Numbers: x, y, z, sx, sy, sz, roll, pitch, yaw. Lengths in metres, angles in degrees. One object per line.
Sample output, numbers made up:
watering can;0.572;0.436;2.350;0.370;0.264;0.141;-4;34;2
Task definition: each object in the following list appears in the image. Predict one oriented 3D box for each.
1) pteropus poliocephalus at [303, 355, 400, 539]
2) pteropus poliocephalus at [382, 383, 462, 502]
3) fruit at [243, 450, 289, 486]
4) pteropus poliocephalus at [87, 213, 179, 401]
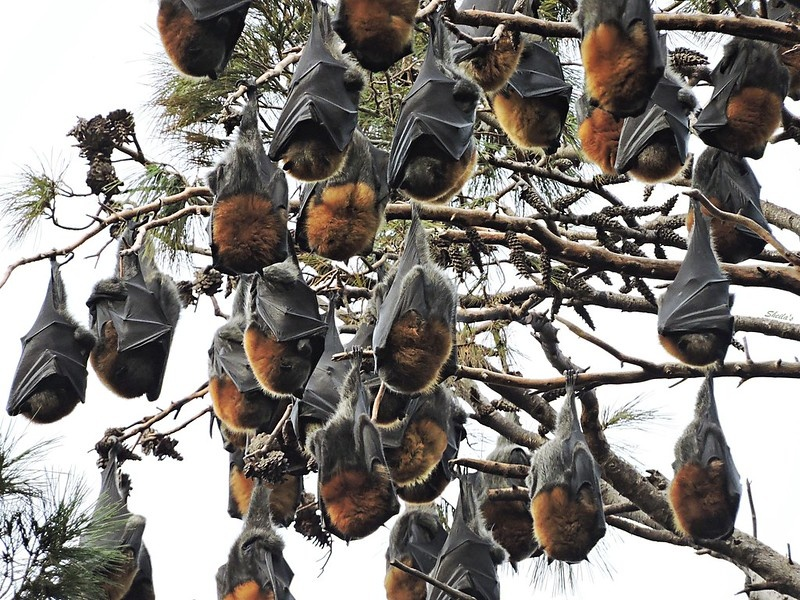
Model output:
pteropus poliocephalus;-0.338;1.215;8.757;0.630;1.326;0.510;-24;-38;25
pteropus poliocephalus;0.197;1.086;9.358;0.295;0.858;0.733;7;-8;-40
fruit;-1.075;1.304;9.891;0.342;0.299;0.319;9;-52;-2
pteropus poliocephalus;-2.428;0.006;10.884;0.634;1.781;1.177;-10;-18;-3
